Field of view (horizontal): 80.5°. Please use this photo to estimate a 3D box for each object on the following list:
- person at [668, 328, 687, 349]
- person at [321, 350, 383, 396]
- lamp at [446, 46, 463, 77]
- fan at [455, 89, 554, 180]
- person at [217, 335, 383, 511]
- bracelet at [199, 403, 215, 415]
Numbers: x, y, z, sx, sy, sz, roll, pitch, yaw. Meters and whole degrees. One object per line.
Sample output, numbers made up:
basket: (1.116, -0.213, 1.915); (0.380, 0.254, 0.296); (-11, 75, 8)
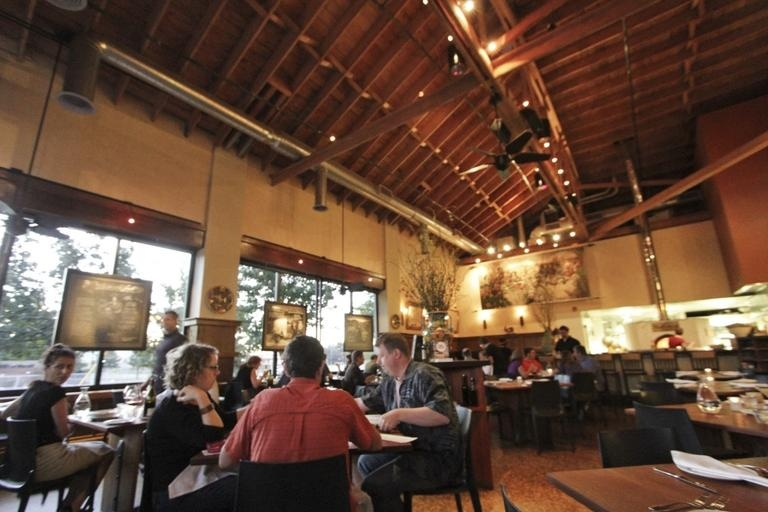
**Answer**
person: (7.142, 1.981, 11.057); (0.328, 0.586, 1.439); (-10, -18, 31)
person: (-0.485, 2.240, 8.799); (1.304, 0.509, 1.441); (-1, -2, 5)
lamp: (1.273, -3.484, 7.967); (0.245, 0.576, 0.429); (-3, -16, 12)
fan: (2.019, -2.143, 8.150); (1.280, 1.184, 1.139); (-21, 4, -9)
person: (-0.742, 1.265, 3.978); (1.348, 1.125, 0.451); (0, -16, -1)
bracelet: (-1.688, 1.451, 4.332); (0.104, 0.069, 0.107); (-9, -17, -3)
